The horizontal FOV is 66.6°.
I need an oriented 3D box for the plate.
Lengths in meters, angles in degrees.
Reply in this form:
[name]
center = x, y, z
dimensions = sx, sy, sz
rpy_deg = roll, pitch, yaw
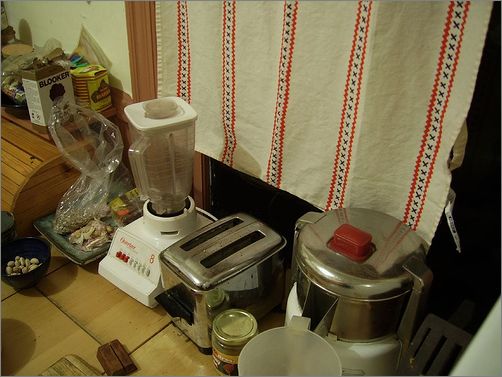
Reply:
[plate]
center = -0.559, 0.137, 1.330
dimensions = 0.309, 0.054, 0.257
rpy_deg = -35, 57, -30

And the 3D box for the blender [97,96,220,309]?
[blender]
center = -0.255, -0.081, 1.262
dimensions = 0.507, 0.708, 0.415
rpy_deg = -7, 33, -19
